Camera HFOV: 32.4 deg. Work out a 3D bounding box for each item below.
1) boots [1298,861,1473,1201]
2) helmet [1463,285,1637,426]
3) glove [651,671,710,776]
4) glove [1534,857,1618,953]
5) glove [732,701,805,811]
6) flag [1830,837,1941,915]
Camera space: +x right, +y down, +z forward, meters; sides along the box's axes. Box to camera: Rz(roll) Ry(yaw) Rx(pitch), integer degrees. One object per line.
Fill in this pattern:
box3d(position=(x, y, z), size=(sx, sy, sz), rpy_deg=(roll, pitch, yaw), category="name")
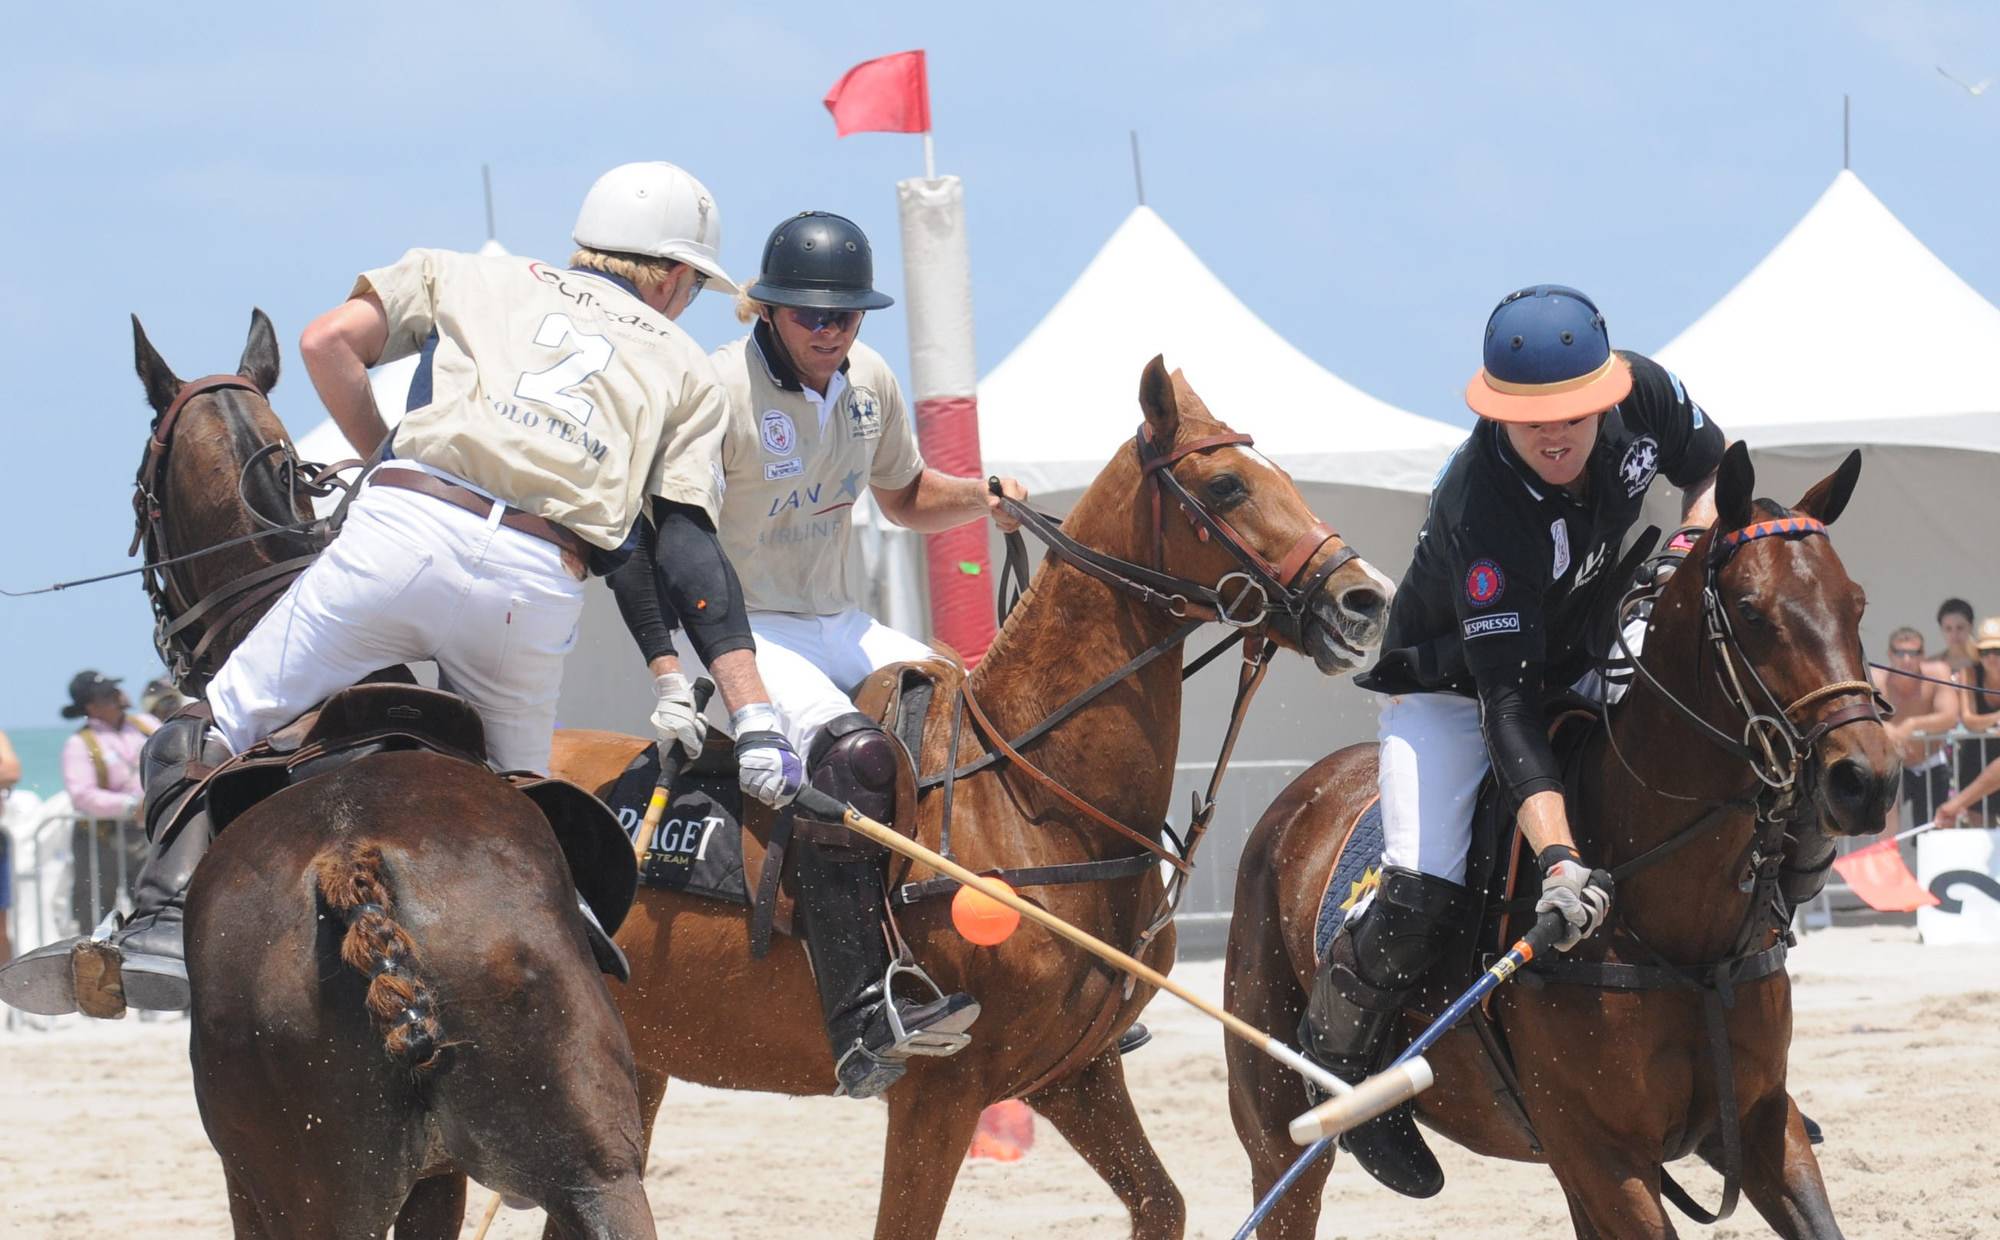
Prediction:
box3d(position=(1.616, 1.739, 14.602), size=(0.771, 1.381, 0.422), rpy_deg=(15, 52, 18), category="boots")
box3d(position=(2.274, -1.090, 14.194), size=(0.676, 0.557, 0.323), rpy_deg=(-1, 1, 7), category="helmet")
box3d(position=(-1.340, 0.459, 14.454), size=(0.189, 0.537, 0.220), rpy_deg=(1, 20, -6), category="glove")
box3d(position=(2.335, 1.150, 13.928), size=(0.288, 0.382, 0.165), rpy_deg=(14, 34, -10), category="glove")
box3d(position=(-0.939, 0.563, 14.243), size=(0.311, 0.413, 0.198), rpy_deg=(-19, 6, -30), category="glove")
box3d(position=(5.483, 1.557, 21.138), size=(0.955, 0.258, 0.459), rpy_deg=(-3, 37, 4), category="flag")
